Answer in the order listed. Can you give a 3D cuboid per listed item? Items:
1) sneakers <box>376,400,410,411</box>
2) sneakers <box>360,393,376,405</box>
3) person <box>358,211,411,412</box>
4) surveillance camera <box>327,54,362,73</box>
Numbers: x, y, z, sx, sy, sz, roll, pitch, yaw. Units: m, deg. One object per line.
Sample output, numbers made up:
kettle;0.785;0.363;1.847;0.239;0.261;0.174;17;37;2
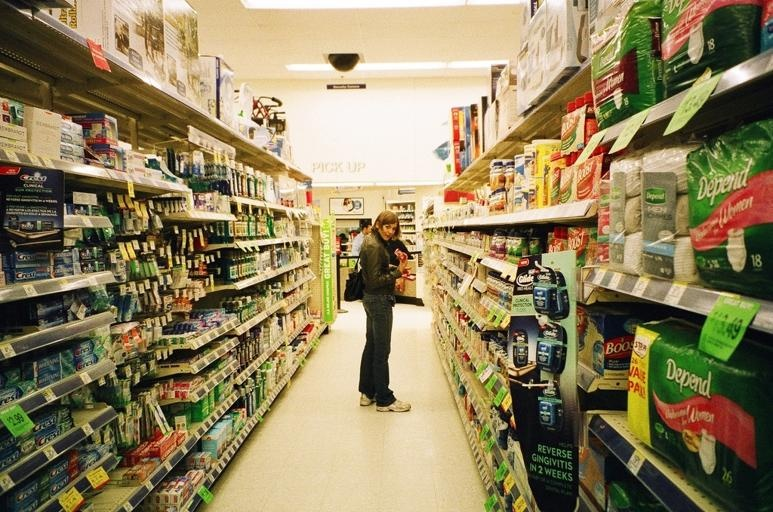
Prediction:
sneakers;0.065;1.365;4.575;0.237;0.094;0.114;-2;-1;2
sneakers;-0.180;1.341;4.740;0.061;0.068;0.149;2;6;9
person;-0.036;0.489;4.664;0.462;1.776;0.568;-2;9;-5
surveillance camera;-0.725;-3.293;8.667;0.399;0.276;0.396;-2;8;0
